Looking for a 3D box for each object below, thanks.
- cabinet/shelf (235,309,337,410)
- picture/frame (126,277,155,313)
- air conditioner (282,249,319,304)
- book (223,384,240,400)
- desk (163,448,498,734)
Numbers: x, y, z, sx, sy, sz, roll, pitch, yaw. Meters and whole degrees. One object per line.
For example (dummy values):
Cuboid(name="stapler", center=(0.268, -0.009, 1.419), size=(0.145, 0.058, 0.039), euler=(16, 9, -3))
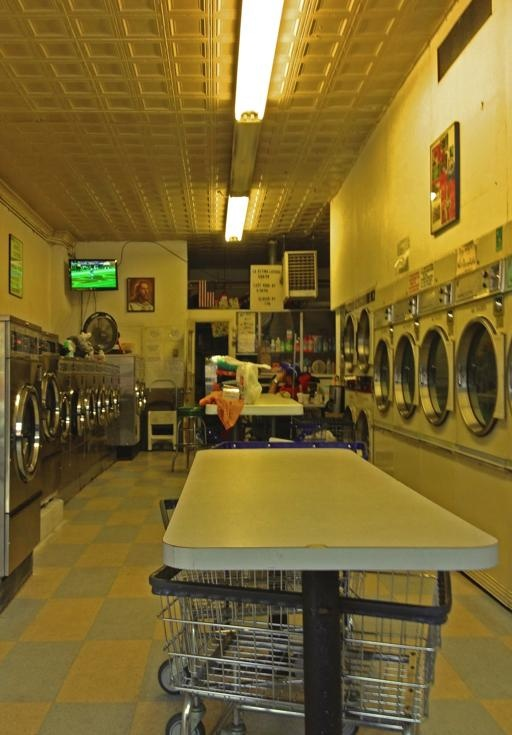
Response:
Cuboid(name="cabinet/shelf", center=(0.497, -0.156, 8.000), size=(1.209, 1.612, 0.462), euler=(0, -5, 1))
Cuboid(name="picture/frame", center=(-1.993, -1.241, 9.028), size=(0.433, 0.776, 0.048), euler=(0, -6, -7))
Cuboid(name="air conditioner", center=(0.763, -1.966, 8.993), size=(0.533, 1.113, 1.058), euler=(1, -39, 8))
Cuboid(name="book", center=(-0.223, 0.224, 4.659), size=(0.105, 0.102, 0.268), euler=(1, -3, -23))
Cuboid(name="desk", center=(0.151, 0.518, 1.138), size=(0.341, 0.423, 0.748), euler=(-1, 8, -3))
